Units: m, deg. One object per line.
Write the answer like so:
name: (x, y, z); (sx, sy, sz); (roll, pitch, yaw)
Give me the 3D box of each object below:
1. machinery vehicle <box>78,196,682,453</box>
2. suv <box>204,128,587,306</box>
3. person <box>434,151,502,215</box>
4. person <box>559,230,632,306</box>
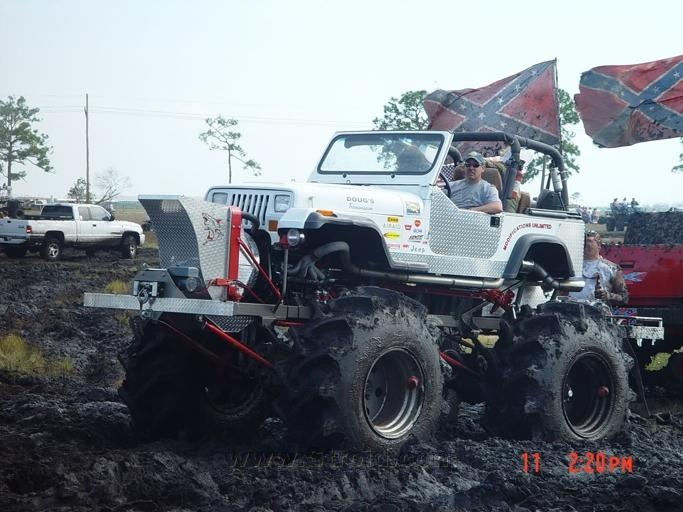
machinery vehicle: (0.559, 0.800, 7.962); (6.084, 3.007, 3.525); (7, -5, -34)
suv: (0.426, -0.568, 7.685); (3.287, 1.953, 1.871); (8, -4, -34)
person: (1.487, -0.839, 7.950); (0.914, 0.802, 0.514); (8, -4, 29)
person: (3.573, 0.344, 9.647); (0.948, 1.347, 0.768); (-1, -4, 35)
